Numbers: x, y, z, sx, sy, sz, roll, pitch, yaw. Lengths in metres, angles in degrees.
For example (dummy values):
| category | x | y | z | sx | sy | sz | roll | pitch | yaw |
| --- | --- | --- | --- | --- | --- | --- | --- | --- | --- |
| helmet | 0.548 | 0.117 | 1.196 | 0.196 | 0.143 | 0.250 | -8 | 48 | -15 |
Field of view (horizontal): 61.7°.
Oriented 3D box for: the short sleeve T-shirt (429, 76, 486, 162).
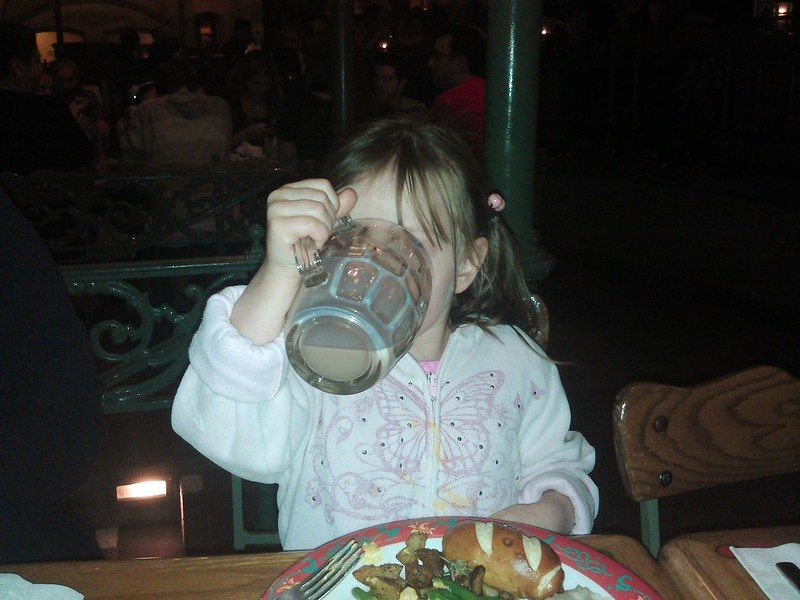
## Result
| category | x | y | z | sx | sy | sz | roll | pitch | yaw |
| --- | --- | --- | --- | --- | --- | --- | --- | --- | --- |
| short sleeve T-shirt | 0.324 | -0.997 | 3.623 | 0.452 | 0.425 | 0.269 | 6 | 16 | 40 |

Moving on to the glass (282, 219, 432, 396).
| category | x | y | z | sx | sy | sz | roll | pitch | yaw |
| --- | --- | --- | --- | --- | --- | --- | --- | --- | --- |
| glass | -0.034 | 0.049 | 1.242 | 0.196 | 0.279 | 0.271 | -29 | 13 | 44 |
